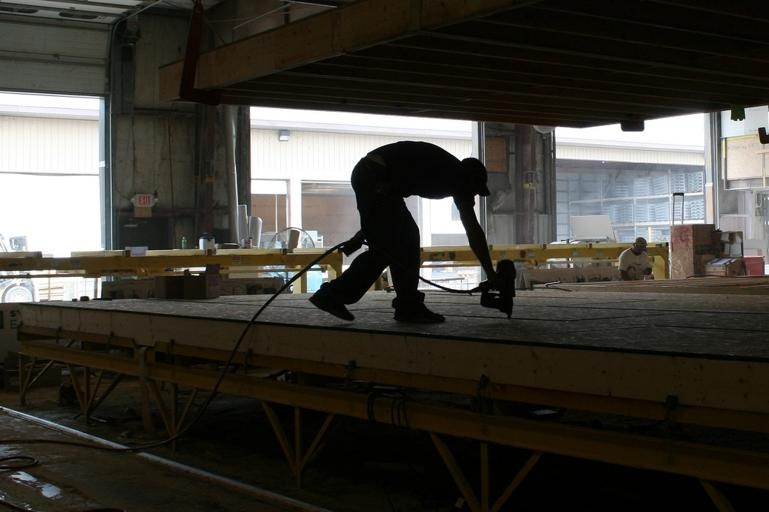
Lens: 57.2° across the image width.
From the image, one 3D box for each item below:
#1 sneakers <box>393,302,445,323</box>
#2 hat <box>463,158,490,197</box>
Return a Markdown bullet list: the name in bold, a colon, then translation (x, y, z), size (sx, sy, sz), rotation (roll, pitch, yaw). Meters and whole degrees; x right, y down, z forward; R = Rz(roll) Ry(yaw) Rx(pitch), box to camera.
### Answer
- **sneakers**: translation (0.262, 0.429, 5.344), size (0.388, 0.163, 0.142), rotation (-2, -4, 9)
- **hat**: translation (0.683, -0.602, 5.314), size (0.196, 0.283, 0.244), rotation (-1, 3, 9)
